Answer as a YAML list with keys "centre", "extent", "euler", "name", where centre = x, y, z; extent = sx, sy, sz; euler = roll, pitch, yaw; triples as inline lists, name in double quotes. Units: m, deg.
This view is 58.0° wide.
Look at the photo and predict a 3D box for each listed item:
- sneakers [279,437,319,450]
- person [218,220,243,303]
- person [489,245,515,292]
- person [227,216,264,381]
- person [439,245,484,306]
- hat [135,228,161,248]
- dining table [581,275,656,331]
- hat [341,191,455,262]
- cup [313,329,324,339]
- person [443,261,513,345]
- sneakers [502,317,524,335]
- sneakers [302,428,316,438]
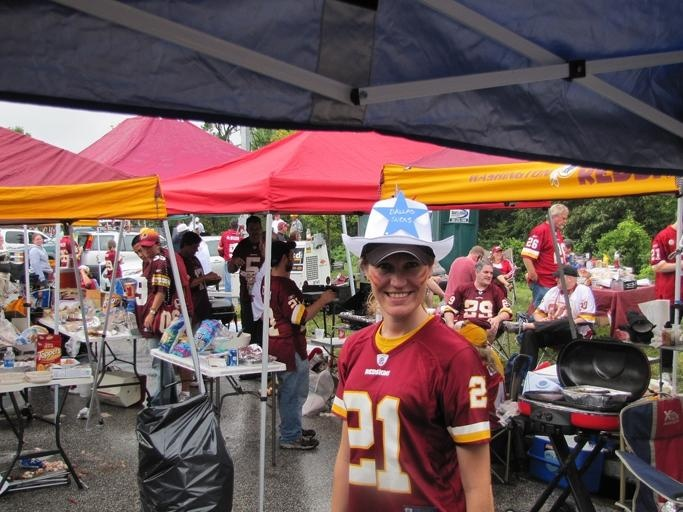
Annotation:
- centre: [-0.469, 2.060, 6.720]
  extent: [0.401, 0.207, 0.160]
  euler: [-4, 6, 3]
  name: "sneakers"
- centre: [-2.534, 0.153, 14.048]
  extent: [0.691, 2.078, 0.585]
  euler: [3, 20, -13]
  name: "person"
- centre: [3.073, 0.214, 12.055]
  extent: [0.580, 0.840, 1.360]
  euler: [1, 1, 14]
  name: "person"
- centre: [-1.398, 0.584, 9.049]
  extent: [0.762, 2.337, 0.650]
  euler: [8, 18, 7]
  name: "person"
- centre: [1.992, 0.308, 9.723]
  extent: [0.477, 0.936, 0.499]
  euler: [12, 1, -4]
  name: "person"
- centre: [-2.377, -0.231, 7.612]
  extent: [0.174, 0.164, 0.267]
  euler: [4, 1, -3]
  name: "hat"
- centre: [4.348, 0.714, 9.550]
  extent: [1.022, 0.590, 1.061]
  euler: [-3, 3, -20]
  name: "dining table"
- centre: [0.257, -0.141, 2.783]
  extent: [0.338, 0.230, 0.357]
  euler: [2, -20, 3]
  name: "hat"
- centre: [-0.310, 1.012, 8.111]
  extent: [0.135, 0.145, 0.169]
  euler: [-2, -13, 7]
  name: "cup"
- centre: [1.699, 0.692, 7.702]
  extent: [0.817, 1.323, 0.665]
  euler: [6, -4, 19]
  name: "person"
- centre: [2.176, 0.883, 7.670]
  extent: [0.346, 0.174, 0.128]
  euler: [-2, 9, -17]
  name: "sneakers"
- centre: [-0.361, 1.976, 6.830]
  extent: [0.127, 0.081, 0.057]
  euler: [-2, -22, -7]
  name: "sneakers"
